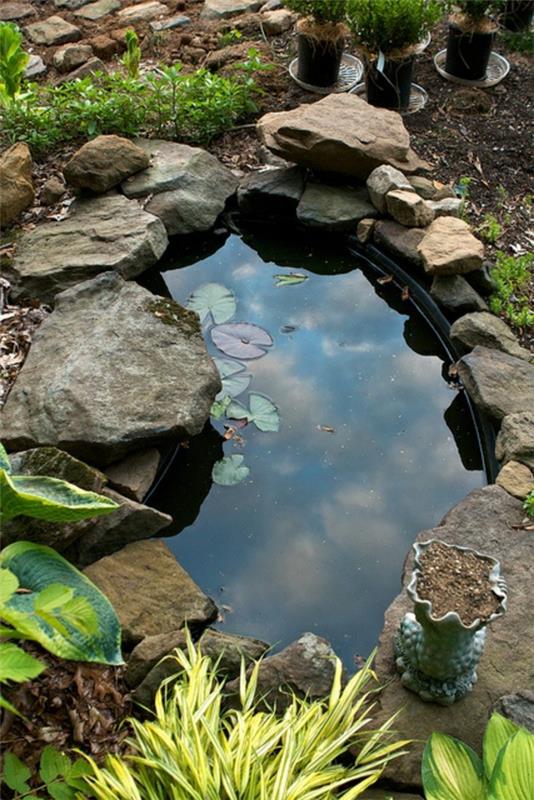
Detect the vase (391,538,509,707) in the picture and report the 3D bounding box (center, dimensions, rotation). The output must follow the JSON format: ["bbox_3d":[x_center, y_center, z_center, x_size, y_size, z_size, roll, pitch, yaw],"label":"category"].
[{"bbox_3d":[0.590,0.757,2.571,0.309,0.526,0.324,8,36,11],"label":"vase"}]
